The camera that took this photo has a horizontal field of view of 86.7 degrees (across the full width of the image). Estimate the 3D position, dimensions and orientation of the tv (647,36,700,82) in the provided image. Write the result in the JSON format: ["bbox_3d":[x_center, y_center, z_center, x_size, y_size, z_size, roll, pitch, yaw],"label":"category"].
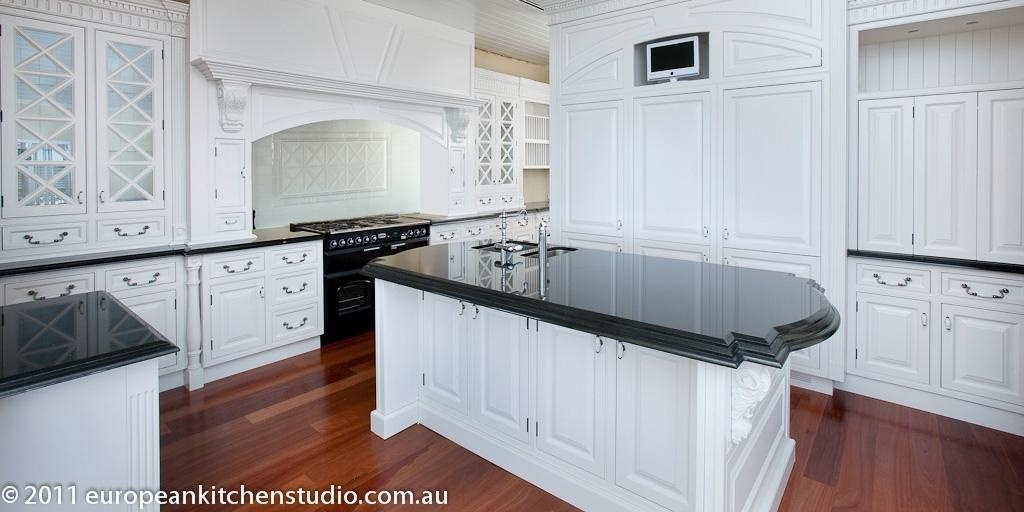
[{"bbox_3d":[1.822,-2.256,6.255,0.766,0.462,0.134,-17,28,-20],"label":"tv"}]

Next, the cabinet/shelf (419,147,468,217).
[{"bbox_3d":[-1.022,-1.143,8.018,0.679,1.039,0.320,-2,12,-5],"label":"cabinet/shelf"}]

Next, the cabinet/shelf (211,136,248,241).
[{"bbox_3d":[-3.271,-0.782,6.188,0.145,1.147,0.426,14,15,24],"label":"cabinet/shelf"}]
